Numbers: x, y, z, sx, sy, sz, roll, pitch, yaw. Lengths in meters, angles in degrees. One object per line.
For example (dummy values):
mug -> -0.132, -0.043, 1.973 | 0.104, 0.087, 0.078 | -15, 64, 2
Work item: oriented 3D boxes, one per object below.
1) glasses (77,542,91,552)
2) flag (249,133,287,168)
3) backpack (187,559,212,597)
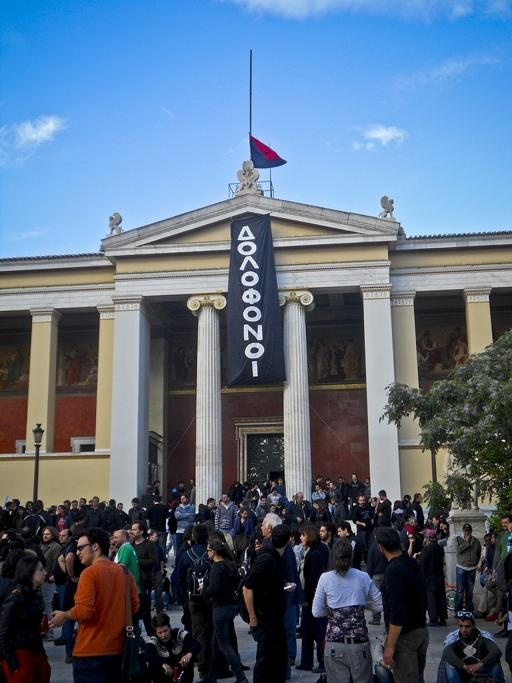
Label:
glasses -> -1.150, 1.374, 4.883 | 0.084, 0.023, 0.080 | 5, -22, -16
flag -> 0.348, -6.942, 26.919 | 1.129, 1.528, 0.677 | -4, -13, 12
backpack -> -0.573, 2.314, 7.207 | 0.278, 0.369, 0.375 | 1, -39, 2
